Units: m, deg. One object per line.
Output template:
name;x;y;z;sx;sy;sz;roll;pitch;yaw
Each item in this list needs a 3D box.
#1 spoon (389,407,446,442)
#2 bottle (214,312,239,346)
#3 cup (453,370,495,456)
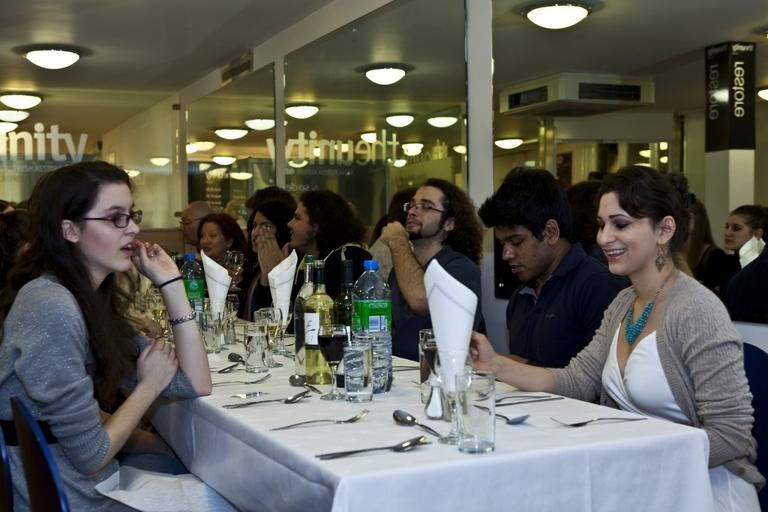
spoon;0.075;0.443;1.545;0.191;0.044;0.029;22;-10;36
bottle;-0.777;0.362;2.882;0.126;0.149;0.124;1;-6;-11
cup;0.218;0.370;1.359;0.089;0.181;0.084;-2;5;0
